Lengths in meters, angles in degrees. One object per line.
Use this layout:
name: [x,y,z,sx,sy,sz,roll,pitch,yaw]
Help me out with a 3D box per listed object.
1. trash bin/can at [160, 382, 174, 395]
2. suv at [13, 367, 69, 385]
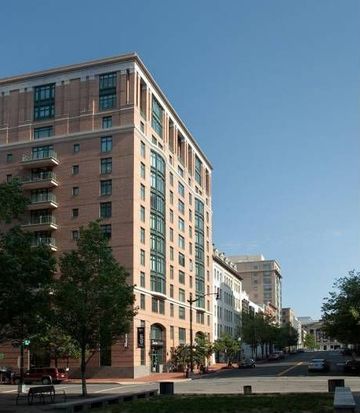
trash bin/can: [-0.890,11.290,47.195,0.873,0.963,0.808,1,-18,-10]
suv: [-11.471,13.926,62.711,3.724,1.557,2.154,12,0,29]
